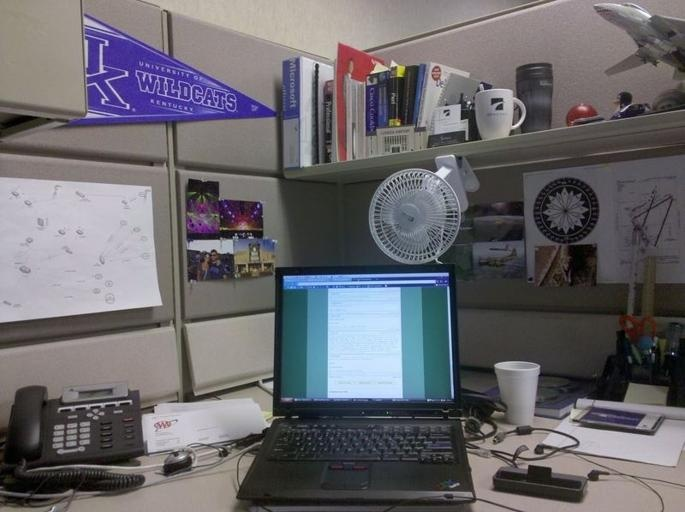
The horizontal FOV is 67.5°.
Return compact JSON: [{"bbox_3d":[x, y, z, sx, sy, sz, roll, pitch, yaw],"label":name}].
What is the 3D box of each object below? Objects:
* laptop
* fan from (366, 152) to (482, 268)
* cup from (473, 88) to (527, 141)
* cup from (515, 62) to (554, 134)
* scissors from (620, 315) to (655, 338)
[{"bbox_3d":[0.041,0.163,0.983,0.374,0.315,0.399,0,10,6],"label":"laptop"},{"bbox_3d":[0.177,-0.058,1.232,0.214,0.274,0.168,-1,5,16],"label":"fan"},{"bbox_3d":[0.372,-0.335,1.238,0.074,0.113,0.115,0,8,19],"label":"cup"},{"bbox_3d":[0.472,-0.385,1.268,0.091,0.156,0.094,-6,6,1],"label":"cup"},{"bbox_3d":[0.671,0.161,1.163,0.047,0.045,0.007,-2,-14,8],"label":"scissors"}]
